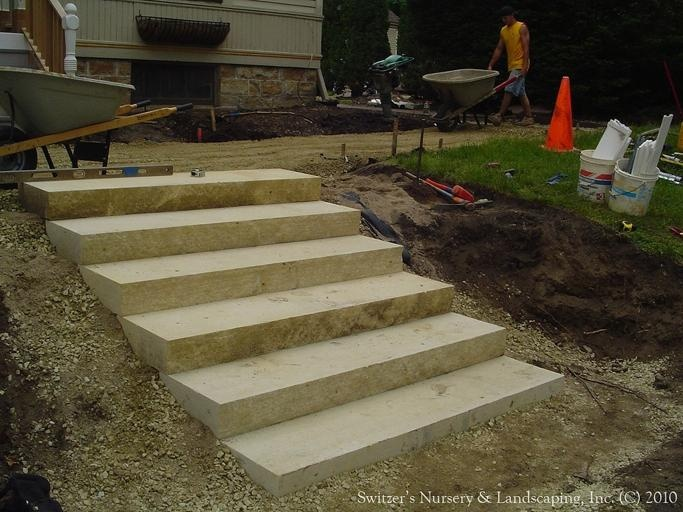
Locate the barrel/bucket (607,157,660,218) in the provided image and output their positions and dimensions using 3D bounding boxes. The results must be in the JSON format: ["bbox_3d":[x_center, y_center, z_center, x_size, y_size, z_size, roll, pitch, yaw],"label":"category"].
[{"bbox_3d":[3.859,-0.847,7.187,0.575,0.540,0.553,0,23,0],"label":"barrel/bucket"}]

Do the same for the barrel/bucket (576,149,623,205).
[{"bbox_3d":[3.414,-1.055,7.379,0.663,0.555,0.697,1,17,0],"label":"barrel/bucket"}]

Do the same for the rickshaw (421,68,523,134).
[{"bbox_3d":[2.862,-3.638,12.690,2.574,1.077,1.399,-17,24,-34],"label":"rickshaw"}]
